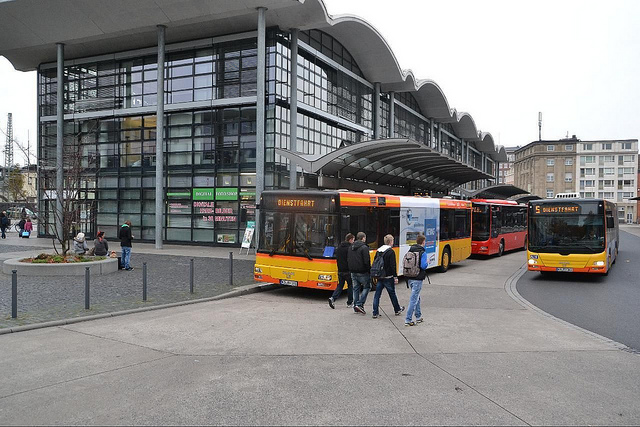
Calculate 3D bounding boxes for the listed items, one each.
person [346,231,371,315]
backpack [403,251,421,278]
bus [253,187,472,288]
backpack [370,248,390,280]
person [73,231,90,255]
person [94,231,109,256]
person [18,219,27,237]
[{"bbox_3d":[1.095,1.826,13.464,0.374,2.010,0.618,-3,5,-40],"label":"person"},{"bbox_3d":[2.369,1.326,12.389,0.441,0.682,0.306,1,4,7],"label":"backpack"},{"bbox_3d":[2.763,0.707,20.067,3.352,3.511,11.925,-2,-3,39],"label":"bus"},{"bbox_3d":[1.583,1.361,12.780,0.506,0.852,0.305,1,4,1],"label":"backpack"},{"bbox_3d":[-10.090,1.307,20.182,0.446,1.037,1.372,-1,5,-26],"label":"person"},{"bbox_3d":[-9.136,1.296,19.905,0.482,1.100,1.019,-1,5,-26],"label":"person"},{"bbox_3d":[-22.007,1.115,35.439,0.463,1.412,1.322,-2,5,-32],"label":"person"}]
